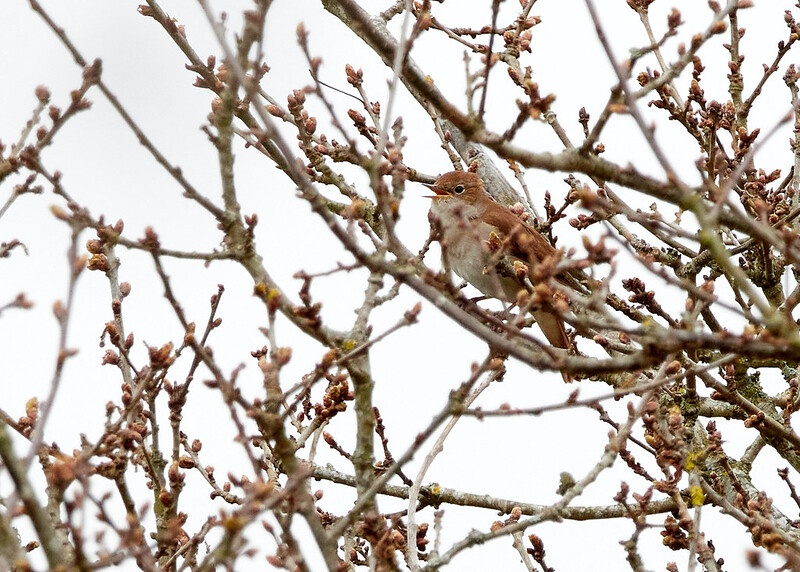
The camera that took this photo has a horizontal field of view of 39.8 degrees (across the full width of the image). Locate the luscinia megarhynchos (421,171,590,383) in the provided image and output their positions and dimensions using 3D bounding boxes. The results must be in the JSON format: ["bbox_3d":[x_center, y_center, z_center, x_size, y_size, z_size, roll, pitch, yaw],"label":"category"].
[{"bbox_3d":[0.883,-0.196,8.993,1.857,0.626,1.145,16,-102,-38],"label":"luscinia megarhynchos"}]
